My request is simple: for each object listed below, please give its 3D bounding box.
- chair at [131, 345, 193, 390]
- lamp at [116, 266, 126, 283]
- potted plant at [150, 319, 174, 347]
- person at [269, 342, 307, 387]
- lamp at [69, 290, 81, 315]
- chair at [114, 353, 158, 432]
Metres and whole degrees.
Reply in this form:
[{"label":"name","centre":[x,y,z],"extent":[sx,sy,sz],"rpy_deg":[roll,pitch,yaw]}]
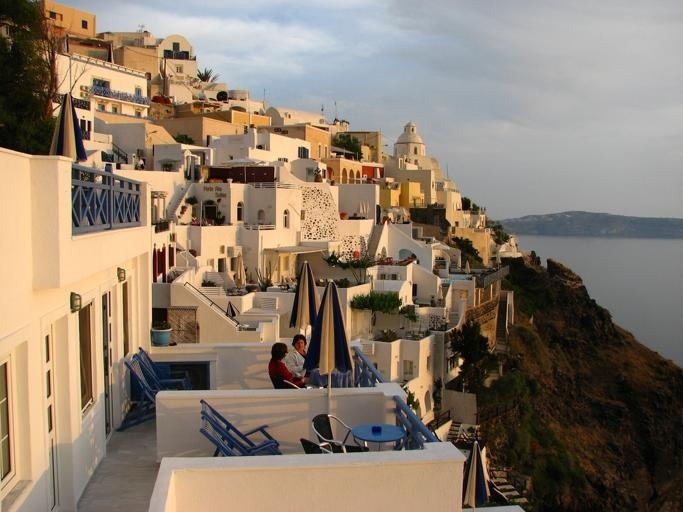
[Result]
[{"label":"chair","centre":[-4.260,2.844,21.730],"extent":[1.206,1.419,0.865],"rpy_deg":[1,10,-5]},{"label":"lamp","centre":[-5.048,0.461,20.787],"extent":[0.210,0.484,0.434],"rpy_deg":[1,-8,0]},{"label":"potted plant","centre":[-4.558,1.950,22.768],"extent":[0.495,0.630,0.515],"rpy_deg":[-6,11,-27]},{"label":"person","centre":[-1.176,2.492,20.884],"extent":[0.790,1.212,0.786],"rpy_deg":[-11,22,-8]},{"label":"lamp","centre":[-5.362,0.936,18.123],"extent":[0.166,0.391,0.303],"rpy_deg":[10,10,42]},{"label":"chair","centre":[-4.760,3.185,21.103],"extent":[0.757,1.507,1.558],"rpy_deg":[1,9,-14]}]
